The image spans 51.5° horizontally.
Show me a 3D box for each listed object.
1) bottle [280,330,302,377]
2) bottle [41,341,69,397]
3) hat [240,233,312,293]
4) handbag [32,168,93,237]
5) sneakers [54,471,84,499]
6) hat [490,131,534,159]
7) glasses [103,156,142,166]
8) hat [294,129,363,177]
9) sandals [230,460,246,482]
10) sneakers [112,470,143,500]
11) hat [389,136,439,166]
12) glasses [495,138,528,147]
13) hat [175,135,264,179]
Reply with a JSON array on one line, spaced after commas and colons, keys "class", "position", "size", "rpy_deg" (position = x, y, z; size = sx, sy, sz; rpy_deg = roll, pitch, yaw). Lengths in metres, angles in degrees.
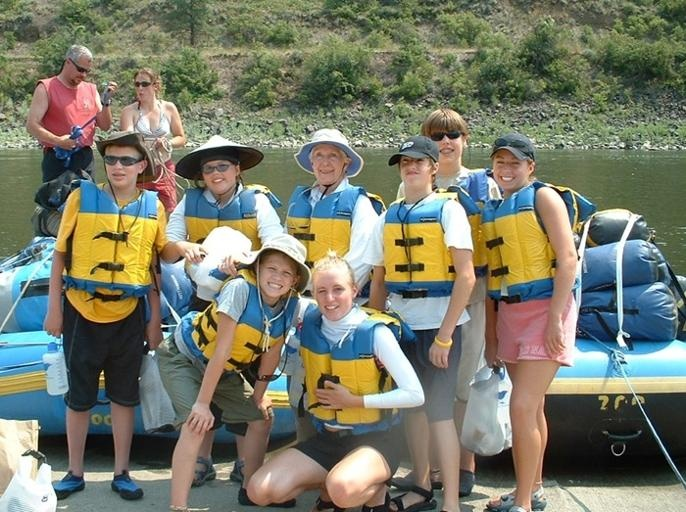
[{"class": "bottle", "position": [-0.344, 0.662, 4.777], "size": [0.095, 0.233, 0.241], "rpy_deg": [14, 2, 25]}, {"class": "bottle", "position": [-1.897, 0.750, 4.726], "size": [0.134, 0.392, 0.264], "rpy_deg": [-7, 12, -22]}, {"class": "hat", "position": [-0.411, 0.061, 4.515], "size": [0.403, 0.390, 0.251], "rpy_deg": [-3, 11, -4]}, {"class": "handbag", "position": [-2.146, -0.416, 5.486], "size": [0.574, 0.567, 0.258], "rpy_deg": [7, -10, 30]}, {"class": "sneakers", "position": [-1.761, 1.460, 4.575], "size": [0.181, 0.133, 0.181], "rpy_deg": [-5, 11, -14]}, {"class": "hat", "position": [1.136, -0.703, 4.625], "size": [0.186, 0.131, 0.257], "rpy_deg": [20, 0, 32]}, {"class": "glasses", "position": [-1.451, -0.628, 4.699], "size": [0.219, 0.073, 0.068], "rpy_deg": [-5, 11, -17]}, {"class": "hat", "position": [-0.090, -0.861, 5.369], "size": [0.416, 0.208, 0.454], "rpy_deg": [7, -34, 7]}, {"class": "sandals", "position": [-0.719, 1.487, 4.956], "size": [0.069, 0.133, 0.199], "rpy_deg": [4, -3, -6]}, {"class": "sneakers", "position": [-1.387, 1.474, 4.594], "size": [0.115, 0.100, 0.241], "rpy_deg": [6, -2, -39]}, {"class": "hat", "position": [0.469, -0.683, 4.610], "size": [0.294, 0.161, 0.203], "rpy_deg": [2, -1, -27]}, {"class": "glasses", "position": [1.082, -0.731, 4.548], "size": [0.131, 0.042, 0.092], "rpy_deg": [4, 4, 15]}, {"class": "hat", "position": [-0.916, -0.787, 5.278], "size": [0.430, 0.158, 0.419], "rpy_deg": [-10, -11, 2]}]
